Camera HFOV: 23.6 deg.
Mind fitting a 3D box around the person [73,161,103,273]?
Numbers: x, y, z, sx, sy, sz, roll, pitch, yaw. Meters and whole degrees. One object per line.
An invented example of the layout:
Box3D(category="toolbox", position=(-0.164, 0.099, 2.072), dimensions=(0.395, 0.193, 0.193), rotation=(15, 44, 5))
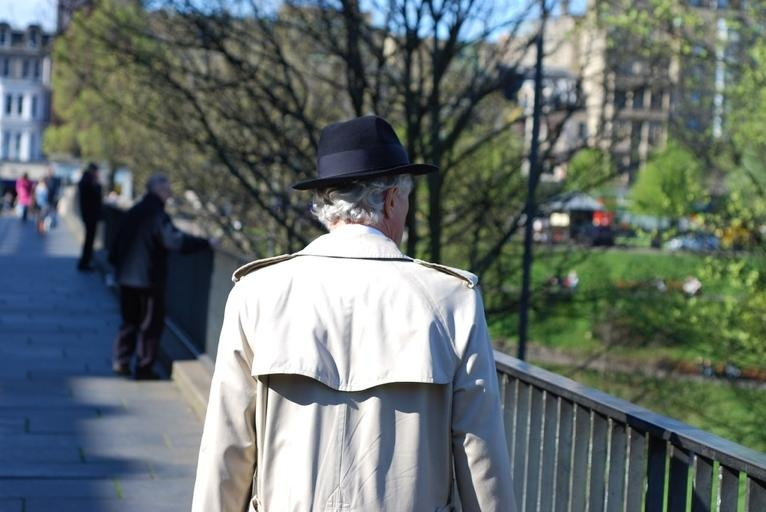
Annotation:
Box3D(category="person", position=(-2.918, -0.414, 18.304), dimensions=(0.242, 1.113, 0.187), rotation=(2, 5, -9))
